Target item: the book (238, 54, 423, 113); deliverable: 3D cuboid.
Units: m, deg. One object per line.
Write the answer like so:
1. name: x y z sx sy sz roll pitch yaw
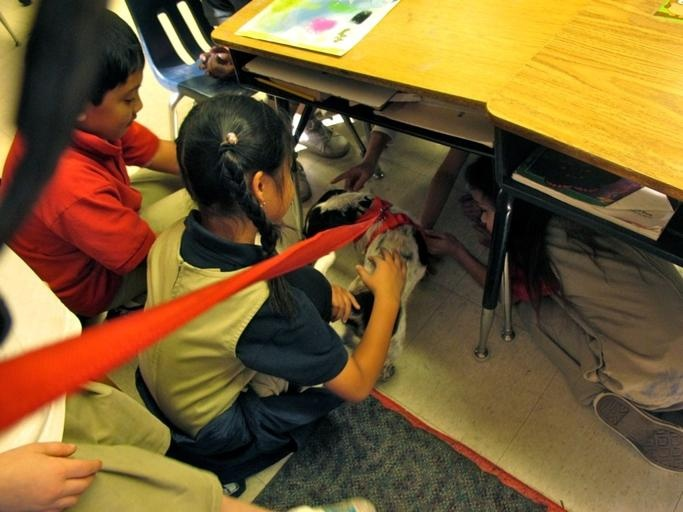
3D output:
1. book: -0.042 -0.481 1.402 0.337 0.067 0.232 21 36 22

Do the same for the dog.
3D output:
1. dog: 0.159 0.098 1.752 0.452 0.223 0.616 12 92 36

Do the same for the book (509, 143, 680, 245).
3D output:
1. book: 0.570 -0.157 1.123 0.327 0.038 0.161 33 57 28
